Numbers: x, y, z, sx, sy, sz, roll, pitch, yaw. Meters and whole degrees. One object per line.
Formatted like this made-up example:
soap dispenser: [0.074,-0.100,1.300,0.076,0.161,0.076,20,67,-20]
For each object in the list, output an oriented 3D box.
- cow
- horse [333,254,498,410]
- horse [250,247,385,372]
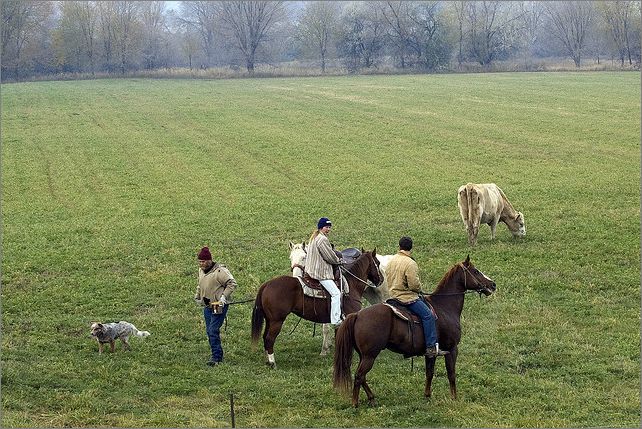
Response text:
cow: [12.510,-0.409,67.667,2.584,4.445,7.793,1,3,43]
horse: [6.193,7.757,57.939,12.059,9.017,3.195,-2,-4,-23]
horse: [-0.301,6.272,59.733,9.892,7.494,2.300,-3,11,-22]
